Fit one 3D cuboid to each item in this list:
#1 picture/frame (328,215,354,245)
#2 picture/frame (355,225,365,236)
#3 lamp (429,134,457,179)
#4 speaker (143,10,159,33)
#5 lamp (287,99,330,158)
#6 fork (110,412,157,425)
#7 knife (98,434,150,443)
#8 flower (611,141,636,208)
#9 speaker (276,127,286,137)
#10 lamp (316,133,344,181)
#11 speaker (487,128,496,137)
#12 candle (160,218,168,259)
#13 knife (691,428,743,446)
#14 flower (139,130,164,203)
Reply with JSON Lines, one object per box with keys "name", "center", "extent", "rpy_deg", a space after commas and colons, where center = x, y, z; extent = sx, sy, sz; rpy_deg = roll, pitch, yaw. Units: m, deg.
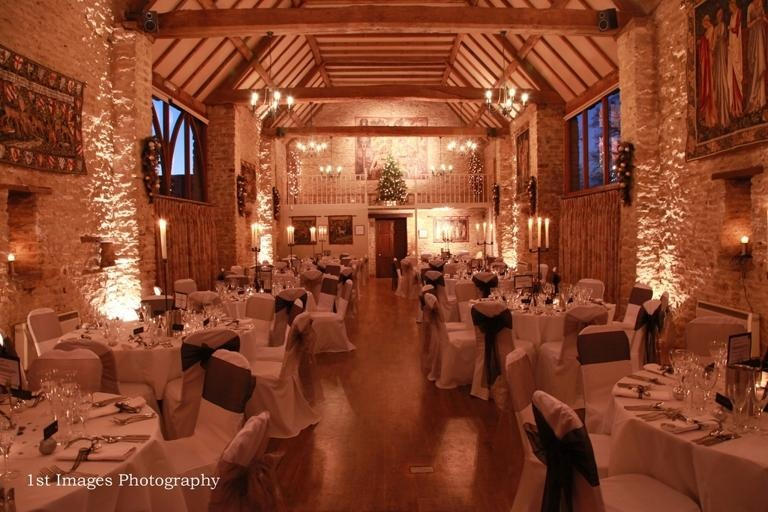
{"name": "picture/frame", "center": [-1.511, -0.923, 19.598], "extent": [0.920, 1.167, 0.047], "rpy_deg": [0, 2, -4]}
{"name": "picture/frame", "center": [-0.883, -0.882, 19.588], "extent": [0.328, 0.370, 0.029], "rpy_deg": [1, 5, 5]}
{"name": "lamp", "center": [2.152, -3.789, 21.384], "extent": [0.746, 1.711, 0.764], "rpy_deg": [-3, 1, -5]}
{"name": "speaker", "center": [-4.019, -4.005, 9.628], "extent": [0.240, 0.335, 0.159], "rpy_deg": [-2, -1, -11]}
{"name": "lamp", "center": [-2.630, -4.177, 19.195], "extent": [1.189, 0.964, 4.400], "rpy_deg": [-2, -2, -7]}
{"name": "fork", "center": [-2.263, 1.477, 5.059], "extent": [0.249, 0.049, 0.044], "rpy_deg": [-5, 25, -31]}
{"name": "knife", "center": [-2.240, 1.579, 4.829], "extent": [0.436, 0.063, 0.086], "rpy_deg": [-2, -2, -4]}
{"name": "flower", "center": [4.324, -1.547, 10.084], "extent": [0.297, 0.918, 0.279], "rpy_deg": [-3, 8, -12]}
{"name": "speaker", "center": [-3.093, -3.656, 16.698], "extent": [0.245, 0.283, 0.267], "rpy_deg": [-3, 9, -11]}
{"name": "lamp", "center": [-2.044, -3.695, 21.477], "extent": [0.850, 1.739, 0.872], "rpy_deg": [1, 2, 26]}
{"name": "speaker", "center": [3.216, -3.706, 16.985], "extent": [0.230, 0.244, 0.232], "rpy_deg": [-1, 3, -3]}
{"name": "candle", "center": [-2.937, -0.208, 7.467], "extent": [0.066, 0.540, 0.330], "rpy_deg": [-1, -1, -24]}
{"name": "knife", "center": [2.789, 1.548, 4.746], "extent": [0.414, 0.060, 0.139], "rpy_deg": [-7, 8, -30]}
{"name": "flower", "center": [-4.184, -1.557, 10.072], "extent": [0.270, 1.160, 0.409], "rpy_deg": [-2, -1, -11]}
